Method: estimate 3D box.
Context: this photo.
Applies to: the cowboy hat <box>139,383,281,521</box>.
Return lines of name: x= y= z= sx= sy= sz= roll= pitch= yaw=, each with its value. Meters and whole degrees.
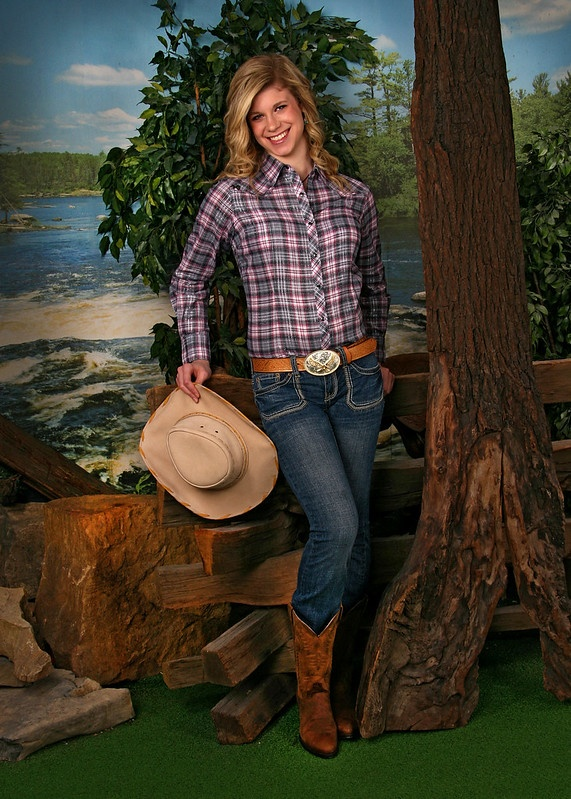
cowboy hat: x=-0.220 y=0.143 z=1.964 sx=0.354 sy=0.386 sz=0.124 roll=-46 pitch=-1 yaw=15

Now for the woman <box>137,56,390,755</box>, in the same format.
woman: x=0.026 y=0.020 z=1.953 sx=0.801 sy=1.977 sz=0.531 roll=-5 pitch=6 yaw=-8

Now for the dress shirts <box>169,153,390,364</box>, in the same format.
dress shirts: x=0.003 y=-0.416 z=1.964 sx=0.730 sy=0.604 sz=0.284 roll=-6 pitch=13 yaw=-15

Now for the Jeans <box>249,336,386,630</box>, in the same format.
Jeans: x=0.162 y=0.276 z=1.919 sx=0.362 sy=0.723 sz=0.320 roll=-6 pitch=2 yaw=-37
